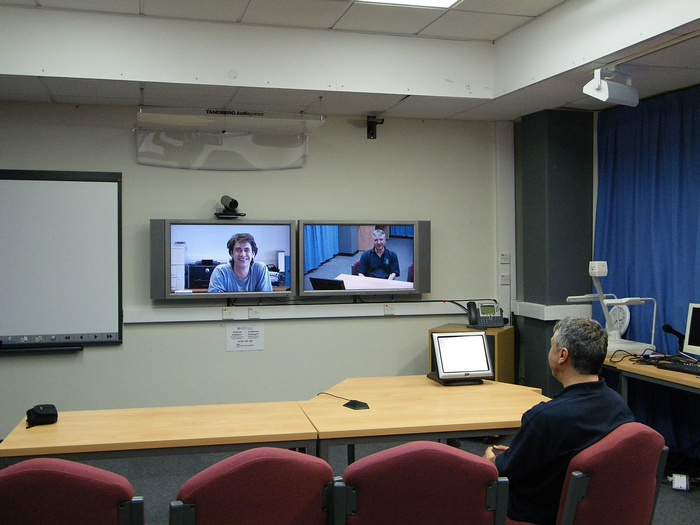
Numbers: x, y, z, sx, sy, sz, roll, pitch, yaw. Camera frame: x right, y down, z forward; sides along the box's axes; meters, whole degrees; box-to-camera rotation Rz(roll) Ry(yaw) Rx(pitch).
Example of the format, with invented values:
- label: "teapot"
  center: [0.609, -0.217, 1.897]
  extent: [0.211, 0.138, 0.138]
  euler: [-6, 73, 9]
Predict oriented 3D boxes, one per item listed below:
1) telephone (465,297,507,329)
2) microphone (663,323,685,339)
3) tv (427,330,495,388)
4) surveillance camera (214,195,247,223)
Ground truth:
- label: "telephone"
  center: [1.219, 0.533, 5.467]
  extent: [0.367, 0.267, 0.271]
  euler: [2, -9, -25]
- label: "microphone"
  center: [2.553, 0.542, 4.539]
  extent: [0.178, 0.049, 0.057]
  euler: [29, -54, -23]
- label: "tv"
  center: [0.736, 0.633, 3.996]
  extent: [0.457, 0.422, 0.322]
  euler: [0, -5, -11]
- label: "surveillance camera"
  center: [-1.057, -0.483, 5.079]
  extent: [0.185, 0.141, 0.248]
  euler: [-1, 0, -27]
